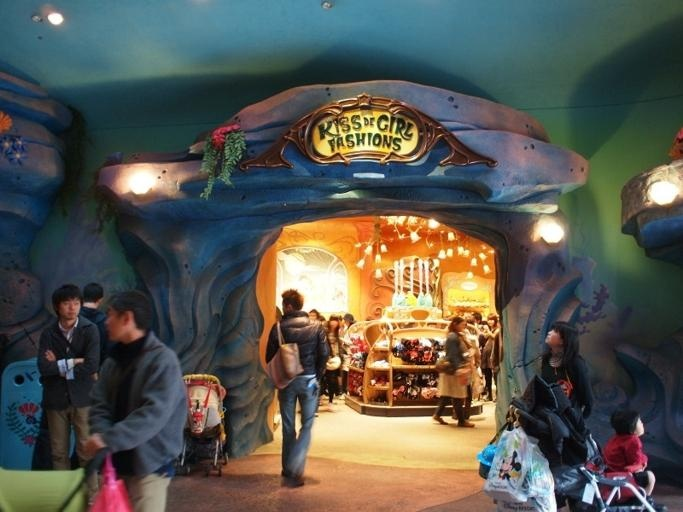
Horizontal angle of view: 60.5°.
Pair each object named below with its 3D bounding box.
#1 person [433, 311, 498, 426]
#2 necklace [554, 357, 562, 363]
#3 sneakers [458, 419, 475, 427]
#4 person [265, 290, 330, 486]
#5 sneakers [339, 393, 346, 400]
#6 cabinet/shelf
[{"bbox_3d":[1.835,1.829,9.345,0.623,1.747,1.103,1,-2,12],"label":"person"},{"bbox_3d":[2.106,1.015,5.665,0.052,0.045,0.050,-1,4,7],"label":"necklace"},{"bbox_3d":[1.972,2.641,9.216,0.260,0.098,0.097,-1,-5,6],"label":"sneakers"},{"bbox_3d":[-0.500,1.447,6.511,0.702,2.124,0.491,1,-2,-1],"label":"person"},{"bbox_3d":[0.029,2.846,11.822,0.125,0.195,0.187,2,-15,-1],"label":"sneakers"},{"bbox_3d":[1.410,2.024,10.812,2.281,1.401,1.906,0,-1,-1],"label":"cabinet/shelf"}]
